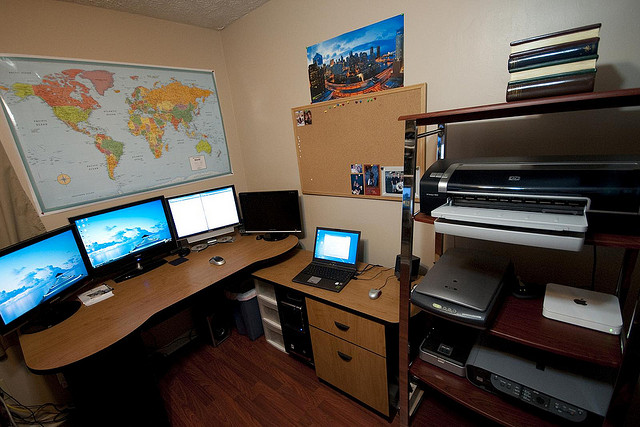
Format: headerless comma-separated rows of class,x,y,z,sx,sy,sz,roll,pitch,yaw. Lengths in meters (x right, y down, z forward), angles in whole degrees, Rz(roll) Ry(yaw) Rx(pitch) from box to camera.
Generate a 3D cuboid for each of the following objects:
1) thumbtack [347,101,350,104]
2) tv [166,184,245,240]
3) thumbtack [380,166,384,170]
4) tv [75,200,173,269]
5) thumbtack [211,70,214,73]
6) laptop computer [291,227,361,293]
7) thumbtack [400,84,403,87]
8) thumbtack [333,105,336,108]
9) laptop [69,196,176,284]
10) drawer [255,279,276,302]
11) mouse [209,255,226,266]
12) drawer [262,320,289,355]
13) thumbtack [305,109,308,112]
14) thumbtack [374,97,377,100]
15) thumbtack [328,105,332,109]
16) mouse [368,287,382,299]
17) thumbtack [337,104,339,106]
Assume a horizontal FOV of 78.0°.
thumbtack,0.218,-0.845,3.015,0.017,0.019,0.002,4,18,30
tv,-1.011,-0.008,3.486,0.691,0.394,0.072,-12,4,17
thumbtack,0.470,-0.342,2.992,0.028,0.026,0.026,2,6,11
tv,-1.570,0.163,3.102,0.040,0.348,0.514,13,25,41
thumbtack,-0.990,-1.310,3.633,0.007,0.026,0.027,14,-24,-41
laptop computer,0.089,0.370,3.112,0.487,0.314,0.491,7,30,28
thumbtack,0.578,-0.906,2.795,0.019,0.017,0.005,8,5,11
thumbtack,0.113,-0.836,3.088,0.023,0.021,0.003,4,19,31
laptop,-1.578,0.215,3.086,0.104,0.439,0.618,12,24,43
drawer,-0.437,0.619,3.350,0.209,0.146,0.146,6,14,33
mouse,-0.825,0.383,3.197,0.170,0.045,0.110,9,20,42
drawer,-0.455,1.116,3.440,0.195,0.259,0.248,-38,34,11
thumbtack,-0.110,-0.847,3.233,0.025,0.022,0.006,0,-2,6
thumbtack,0.404,-0.843,2.900,0.020,0.022,0.020,-16,13,-34
thumbtack,0.079,-0.838,3.109,0.027,0.025,0.010,11,-3,22
mouse,0.390,0.571,2.824,0.082,0.048,0.120,3,17,29
thumbtack,0.140,-0.844,3.069,0.016,0.014,0.008,9,26,14
